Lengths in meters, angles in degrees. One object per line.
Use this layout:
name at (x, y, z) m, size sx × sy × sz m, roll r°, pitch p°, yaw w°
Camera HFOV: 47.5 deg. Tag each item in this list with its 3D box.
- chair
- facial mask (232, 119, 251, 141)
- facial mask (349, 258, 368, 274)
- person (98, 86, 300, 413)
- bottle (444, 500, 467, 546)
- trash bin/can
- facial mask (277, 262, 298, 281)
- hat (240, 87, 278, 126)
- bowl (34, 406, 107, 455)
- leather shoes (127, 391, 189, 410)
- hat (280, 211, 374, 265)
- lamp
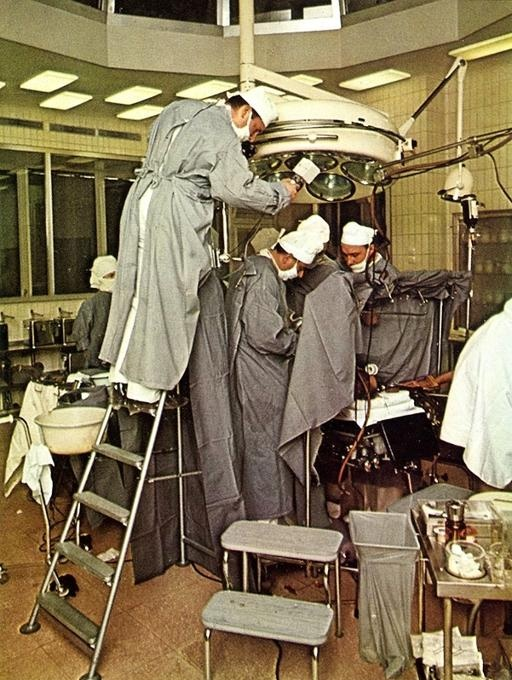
chair at (0.078, 0.839, 1.937) m, size 0.401 × 0.351 × 0.541 m, roll -1°, pitch -2°, yaw 17°
facial mask at (-0.055, -0.834, 2.343) m, size 0.051 × 0.088 × 0.066 m, roll -11°, pitch 12°, yaw 9°
facial mask at (0.573, -0.402, 3.224) m, size 0.095 × 0.093 × 0.073 m, roll -27°, pitch 19°, yaw -37°
person at (-0.257, -0.369, 2.263) m, size 0.746 × 1.206 × 0.387 m, roll -4°, pitch 10°, yaw -13°
bottle at (0.603, 0.555, 1.752) m, size 0.062 × 0.161 × 0.062 m, roll -8°, pitch 21°, yaw 3°
trash bin/can at (0.438, 0.872, 2.014) m, size 0.226 × 0.527 × 0.365 m, roll 0°, pitch 10°, yaw 11°
facial mask at (0.170, -0.333, 2.945) m, size 0.080 × 0.086 × 0.040 m, roll 4°, pitch -30°, yaw 34°
hat at (0.017, -0.949, 2.345) m, size 0.090 × 0.173 × 0.127 m, roll -29°, pitch 31°, yaw 4°
bowl at (-0.859, 0.443, 2.756) m, size 0.323 × 0.158 × 0.320 m, roll -7°, pitch 2°, yaw 0°
leather shoes at (-0.402, 0.239, 2.318) m, size 0.109 × 0.037 × 0.152 m, roll 2°, pitch 6°, yaw 8°
hat at (0.366, -0.541, 2.994) m, size 0.444 × 0.206 × 0.284 m, roll -10°, pitch 23°, yaw -21°
lamp at (0.428, -1.208, 3.103) m, size 1.153 × 1.167 × 0.886 m, roll 2°, pitch -2°, yaw -14°
